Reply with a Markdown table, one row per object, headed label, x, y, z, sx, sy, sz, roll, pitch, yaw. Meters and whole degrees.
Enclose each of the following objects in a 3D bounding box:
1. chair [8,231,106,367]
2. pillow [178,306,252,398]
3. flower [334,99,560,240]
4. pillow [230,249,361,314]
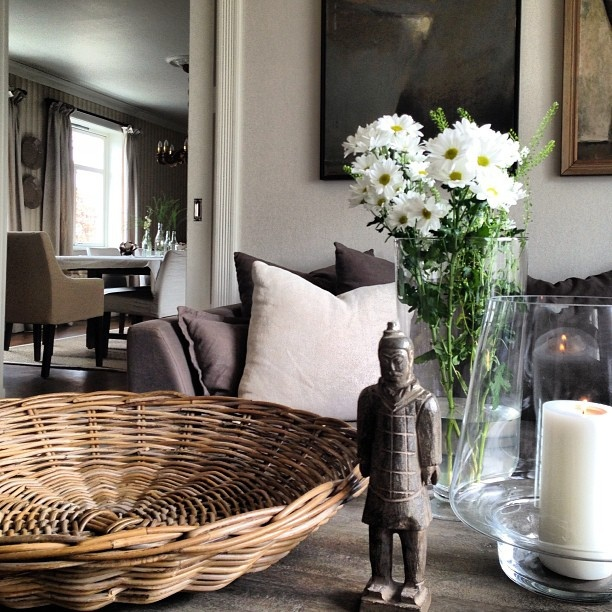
| label | x | y | z | sx | sy | sz | roll | pitch | yaw |
| --- | --- | --- | --- | --- | --- | --- | --- | --- | --- |
| chair | -1.522 | -0.019 | 3.922 | 0.589 | 0.840 | 0.362 | -1 | 2 | -31 |
| pillow | -0.288 | 0.126 | 1.647 | 0.088 | 0.185 | 0.294 | -22 | -22 | 39 |
| flower | 0.212 | -0.140 | 0.873 | 0.272 | 0.164 | 0.229 | 1 | 6 | -15 |
| pillow | -0.106 | -0.099 | 1.928 | 0.247 | 0.219 | 0.085 | -4 | -42 | -14 |
